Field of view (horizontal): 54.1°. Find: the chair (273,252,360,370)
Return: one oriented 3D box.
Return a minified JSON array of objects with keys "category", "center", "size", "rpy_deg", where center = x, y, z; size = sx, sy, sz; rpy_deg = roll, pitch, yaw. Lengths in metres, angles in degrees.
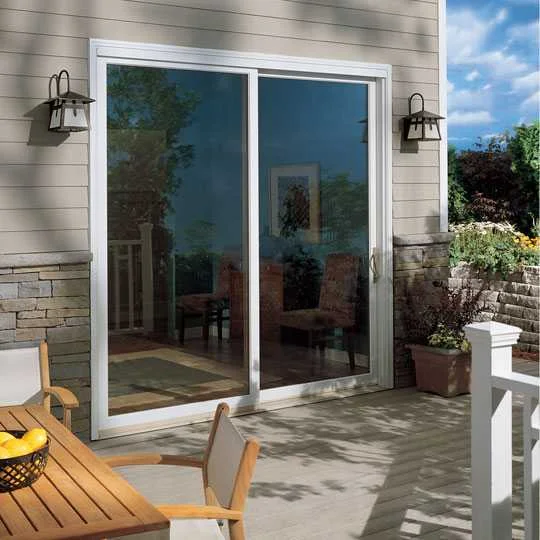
[{"category":"chair","center":[0.499,0.381,5.224],"size":[0.702,0.985,0.582],"rpy_deg":[-3,5,-24]}]

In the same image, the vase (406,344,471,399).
[{"category":"vase","center":[1.615,0.958,5.129],"size":[0.520,0.406,0.595],"rpy_deg":[-1,2,-32]}]
